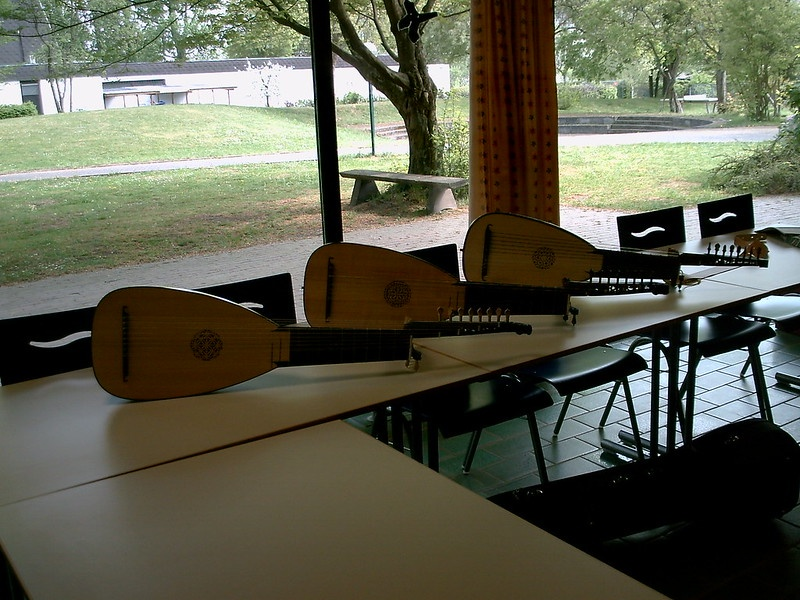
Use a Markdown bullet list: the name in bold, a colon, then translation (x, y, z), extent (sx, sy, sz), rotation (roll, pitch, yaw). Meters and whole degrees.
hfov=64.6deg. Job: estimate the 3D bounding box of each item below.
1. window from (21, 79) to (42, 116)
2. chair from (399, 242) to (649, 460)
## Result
- **window**: translation (-1.638, -0.901, 2.806), extent (0.027, 0.091, 0.110), rotation (1, 5, 21)
- **chair**: translation (0.617, 0.262, 2.472), extent (0.663, 0.893, 0.598), rotation (-25, -41, 38)
